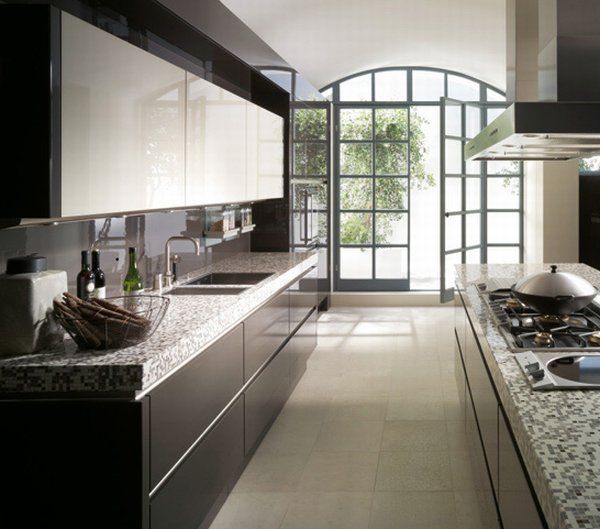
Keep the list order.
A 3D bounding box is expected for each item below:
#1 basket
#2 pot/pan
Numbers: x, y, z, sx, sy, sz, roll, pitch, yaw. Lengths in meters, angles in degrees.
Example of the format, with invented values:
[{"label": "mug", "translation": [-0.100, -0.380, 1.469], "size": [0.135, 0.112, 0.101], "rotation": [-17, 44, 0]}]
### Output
[{"label": "basket", "translation": [-0.616, 0.192, 1.681], "size": [0.224, 0.105, 0.236], "rotation": [1, -3, 8]}, {"label": "pot/pan", "translation": [1.056, 0.111, 2.030], "size": [0.200, 0.126, 0.236], "rotation": [-2, 4, 3]}]
